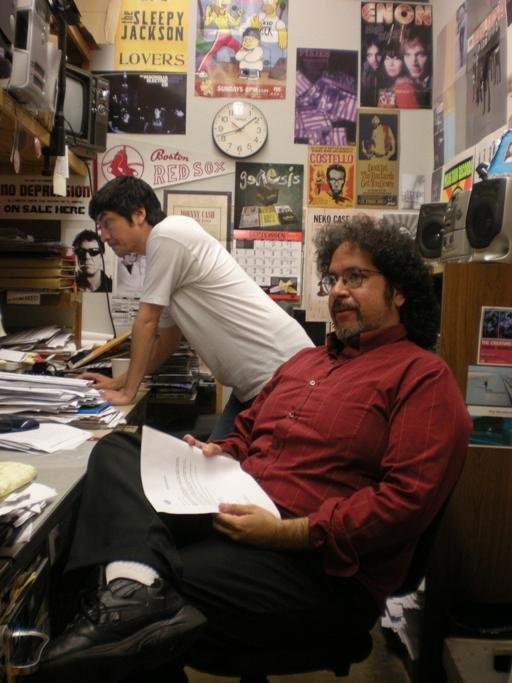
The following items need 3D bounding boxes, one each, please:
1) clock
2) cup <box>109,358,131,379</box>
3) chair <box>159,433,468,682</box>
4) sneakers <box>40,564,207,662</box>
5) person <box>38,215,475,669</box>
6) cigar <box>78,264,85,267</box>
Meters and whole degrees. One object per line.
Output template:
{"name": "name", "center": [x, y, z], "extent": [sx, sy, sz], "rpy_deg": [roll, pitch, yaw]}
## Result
{"name": "clock", "center": [-0.099, -1.166, 2.953], "extent": [0.314, 0.315, 0.046], "rpy_deg": [-5, 5, 1]}
{"name": "cup", "center": [-0.482, 0.095, 1.933], "extent": [0.071, 0.079, 0.081], "rpy_deg": [2, -1, 18]}
{"name": "chair", "center": [0.069, 0.353, 1.133], "extent": [0.473, 0.537, 0.451], "rpy_deg": [11, -9, -9]}
{"name": "sneakers", "center": [-0.176, 0.389, 0.776], "extent": [0.218, 0.098, 0.076], "rpy_deg": [0, -36, -37]}
{"name": "person", "center": [0.098, 0.192, 1.288], "extent": [0.923, 1.020, 0.603], "rpy_deg": [9, -2, -12]}
{"name": "cigar", "center": [-0.962, -0.415, 2.993], "extent": [0.019, 0.017, 0.019], "rpy_deg": [-1, -4, 1]}
